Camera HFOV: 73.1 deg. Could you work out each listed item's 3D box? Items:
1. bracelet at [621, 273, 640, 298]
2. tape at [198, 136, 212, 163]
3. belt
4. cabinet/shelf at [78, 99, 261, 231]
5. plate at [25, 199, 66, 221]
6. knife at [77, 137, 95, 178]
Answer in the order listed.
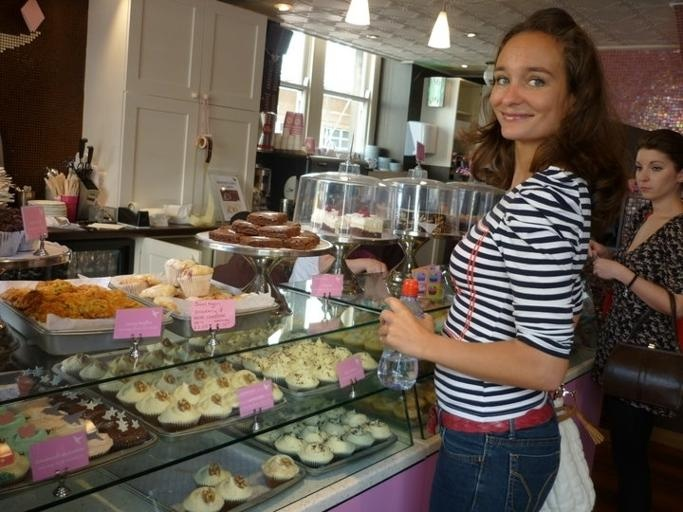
[{"bbox_3d":[1.289,0.129,2.056,0.030,0.098,0.092,23,54,17],"label":"bracelet"},{"bbox_3d":[-1.197,-0.917,3.956,0.066,0.176,0.139,-1,21,-26],"label":"tape"},{"bbox_3d":[0.356,0.372,1.059,0.163,0.036,0.129,0,-3,6],"label":"belt"},{"bbox_3d":[-1.443,-0.740,3.711,1.413,1.124,0.455,-4,8,-45],"label":"cabinet/shelf"},{"bbox_3d":[-2.072,-0.330,3.250,0.236,0.123,0.362,-4,11,-29],"label":"plate"},{"bbox_3d":[-2.018,-0.780,3.645,0.113,0.300,0.346,-4,11,-26],"label":"knife"}]
